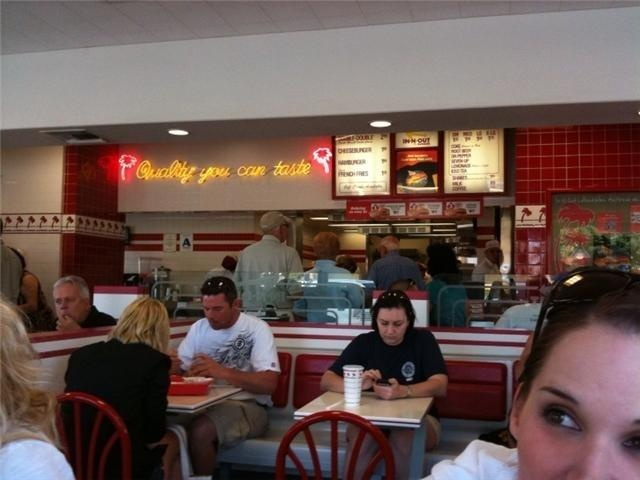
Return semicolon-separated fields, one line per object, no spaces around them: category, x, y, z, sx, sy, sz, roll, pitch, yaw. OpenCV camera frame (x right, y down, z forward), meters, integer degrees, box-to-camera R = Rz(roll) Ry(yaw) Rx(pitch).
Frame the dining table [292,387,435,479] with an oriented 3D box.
dining table;0.232;0.781;2.460;0.575;0.470;0.538;-1;-9;13

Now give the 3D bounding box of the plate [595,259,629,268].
plate;2.799;0.221;5.110;0.284;0.070;0.260;-3;4;-9

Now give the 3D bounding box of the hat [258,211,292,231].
hat;-0.382;-0.152;4.622;0.209;0.137;0.293;8;22;36

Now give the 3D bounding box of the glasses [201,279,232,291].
glasses;-0.599;0.252;3.094;0.093;0.035;0.108;-14;16;-43
